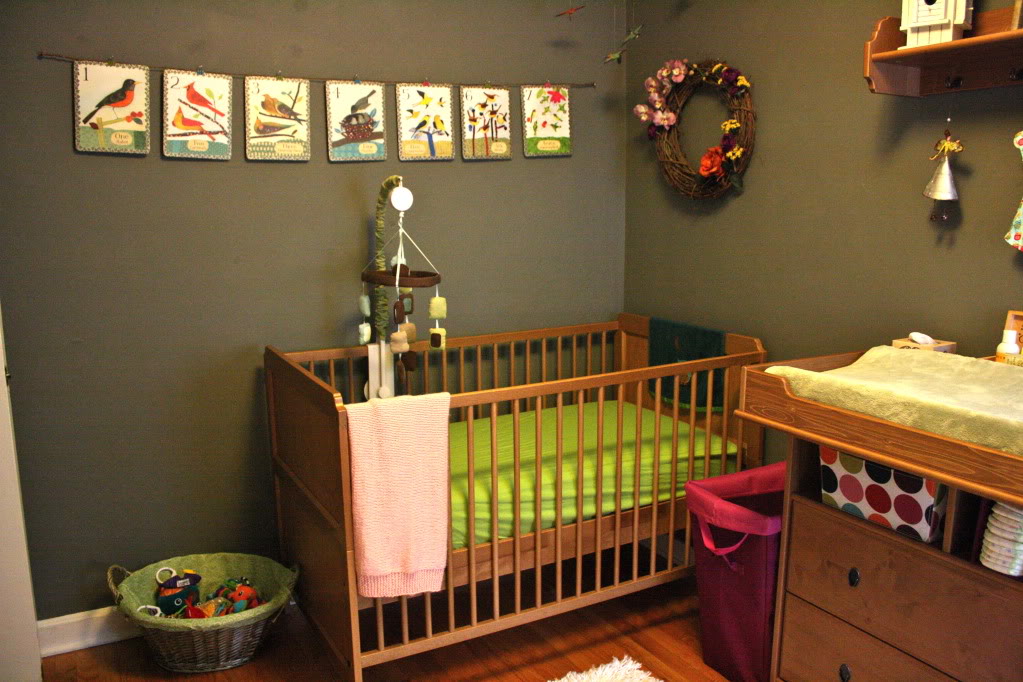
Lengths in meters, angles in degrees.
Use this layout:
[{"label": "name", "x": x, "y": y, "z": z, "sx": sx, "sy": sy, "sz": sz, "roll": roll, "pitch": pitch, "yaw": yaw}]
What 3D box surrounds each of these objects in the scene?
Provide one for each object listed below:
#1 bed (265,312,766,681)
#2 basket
[{"label": "bed", "x": 0.045, "y": 0.722, "z": 3.880, "sx": 2.125, "sy": 1.381, "sz": 1.279, "roll": -7, "pitch": 14, "yaw": -28}, {"label": "basket", "x": -1.295, "y": 1.140, "z": 3.486, "sx": 0.737, "sy": 0.421, "sz": 0.542, "roll": -7, "pitch": 12, "yaw": -22}]
